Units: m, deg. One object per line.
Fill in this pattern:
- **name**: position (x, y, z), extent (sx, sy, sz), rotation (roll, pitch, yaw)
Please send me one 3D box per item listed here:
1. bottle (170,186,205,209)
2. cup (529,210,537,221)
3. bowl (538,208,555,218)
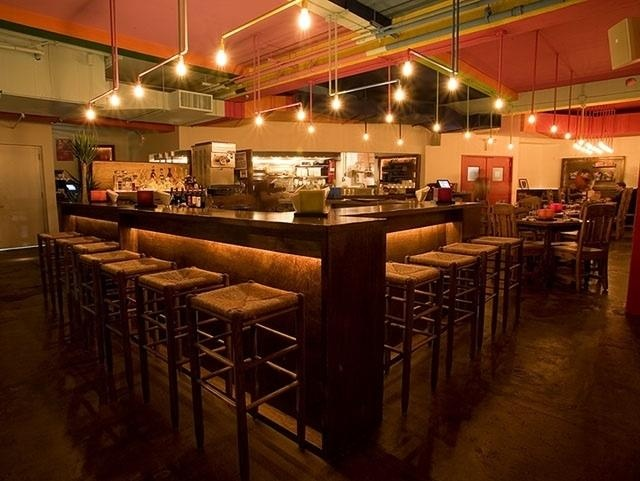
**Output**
- **bottle**: position (-1.839, -0.574, 6.583), extent (0.447, 0.169, 0.455), rotation (2, 9, 0)
- **cup**: position (3.582, -0.413, 7.996), extent (0.104, 0.195, 0.197), rotation (-3, 6, -8)
- **bowl**: position (3.605, -0.426, 7.589), extent (0.164, 0.172, 0.176), rotation (-10, 3, 0)
